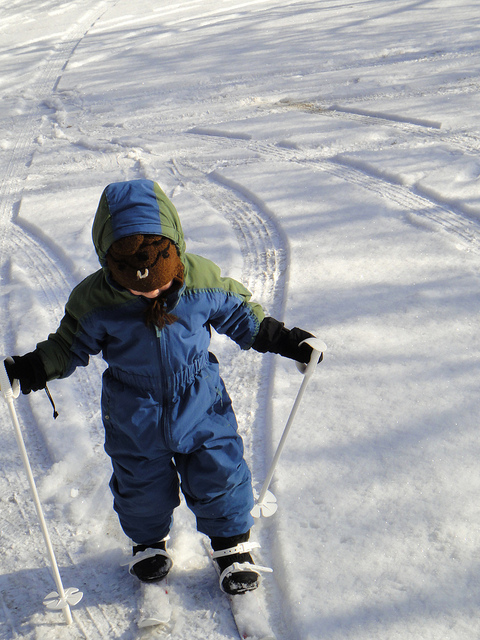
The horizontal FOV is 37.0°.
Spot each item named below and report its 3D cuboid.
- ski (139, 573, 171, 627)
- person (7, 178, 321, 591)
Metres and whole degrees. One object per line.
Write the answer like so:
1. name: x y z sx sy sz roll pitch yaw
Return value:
1. ski: -0.296 1.033 2.616 0.113 0.034 0.330 -4 29 -6
2. person: -0.223 0.257 2.519 0.642 1.477 0.819 18 36 39
